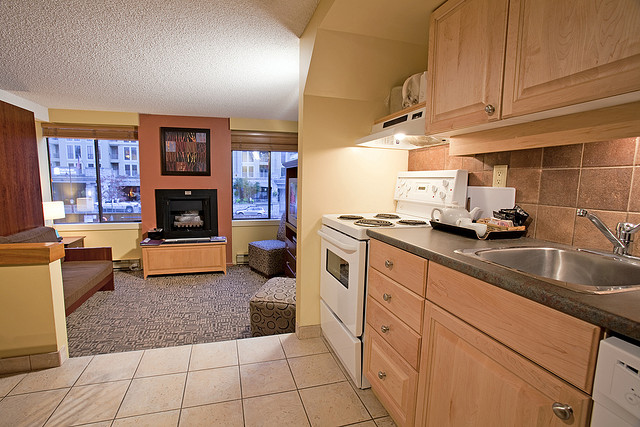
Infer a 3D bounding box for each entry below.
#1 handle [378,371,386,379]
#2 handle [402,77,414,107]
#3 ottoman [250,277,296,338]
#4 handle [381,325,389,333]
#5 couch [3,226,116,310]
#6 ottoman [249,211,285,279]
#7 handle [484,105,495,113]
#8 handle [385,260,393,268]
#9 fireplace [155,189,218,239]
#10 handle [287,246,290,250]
[{"bbox_3d":[0.419,1.098,2.741,0.047,0.034,0.022,-8,-7,41],"label":"handle"},{"bbox_3d":[0.680,-0.952,3.184,0.079,0.201,0.159,1,0,1],"label":"handle"},{"bbox_3d":[-0.454,0.919,4.111,0.632,0.442,0.814,0,5,-3],"label":"ottoman"},{"bbox_3d":[0.433,0.771,2.717,0.031,0.029,0.049,5,-32,-23],"label":"handle"},{"bbox_3d":[-2.820,0.835,4.530,0.812,0.930,1.405,1,8,-23],"label":"couch"},{"bbox_3d":[-0.735,0.417,5.982,0.493,0.931,0.591,-6,14,-25],"label":"ottoman"},{"bbox_3d":[1.028,-0.634,2.456,0.058,0.057,0.017,7,2,26],"label":"handle"},{"bbox_3d":[0.461,0.333,2.694,0.044,0.074,0.119,-1,-6,3],"label":"handle"},{"bbox_3d":[-1.995,-0.004,6.121,0.873,0.733,0.304,0,3,-15],"label":"fireplace"},{"bbox_3d":[-0.412,0.447,5.312,0.036,0.046,0.048,1,4,-15],"label":"handle"}]
